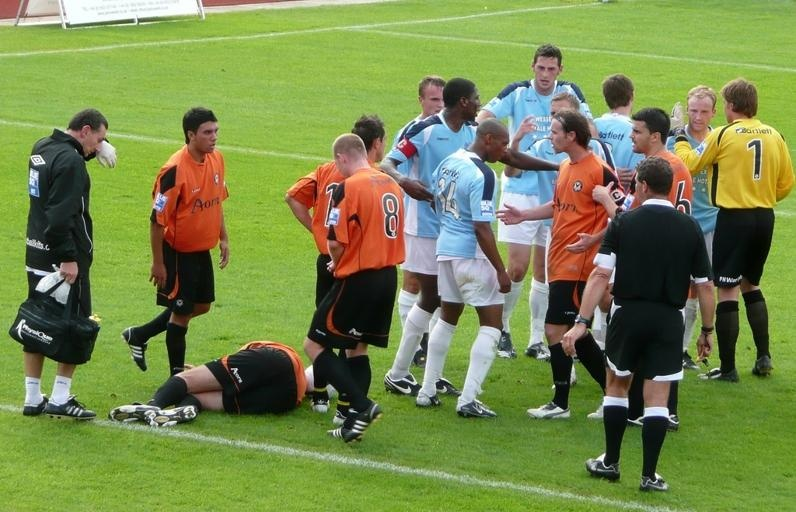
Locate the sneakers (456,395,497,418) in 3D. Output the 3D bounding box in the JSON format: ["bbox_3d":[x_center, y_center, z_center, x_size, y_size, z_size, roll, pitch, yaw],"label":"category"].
[{"bbox_3d":[0.911,1.803,13.219,0.550,0.237,0.184,-1,4,-7],"label":"sneakers"}]

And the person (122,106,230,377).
[{"bbox_3d":[-2.632,-0.176,13.437,1.130,3.225,0.734,0,4,-13],"label":"person"}]

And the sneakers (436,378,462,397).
[{"bbox_3d":[0.584,1.603,13.730,0.424,0.165,0.136,22,3,-1],"label":"sneakers"}]

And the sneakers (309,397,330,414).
[{"bbox_3d":[-0.922,1.763,13.103,0.185,0.135,0.337,1,6,-1],"label":"sneakers"}]

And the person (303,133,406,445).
[{"bbox_3d":[-0.510,0.351,12.666,0.919,3.434,0.734,2,4,23],"label":"person"}]

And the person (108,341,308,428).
[{"bbox_3d":[-2.188,1.409,13.015,2.196,0.631,0.875,-7,0,-17],"label":"person"}]

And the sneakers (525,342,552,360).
[{"bbox_3d":[1.838,1.252,14.537,0.166,0.134,0.317,-2,3,-43],"label":"sneakers"}]

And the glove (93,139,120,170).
[{"bbox_3d":[-3.445,-1.175,13.091,0.154,0.346,0.282,12,38,41],"label":"glove"}]

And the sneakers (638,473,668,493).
[{"bbox_3d":[2.735,2.413,11.945,0.279,0.157,0.171,-6,13,-11],"label":"sneakers"}]

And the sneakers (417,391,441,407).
[{"bbox_3d":[0.357,1.715,13.323,0.157,0.115,0.296,2,2,28],"label":"sneakers"}]

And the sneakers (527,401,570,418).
[{"bbox_3d":[1.778,1.826,13.192,0.521,0.179,0.180,2,-7,-3],"label":"sneakers"}]

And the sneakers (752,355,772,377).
[{"bbox_3d":[4.616,1.396,14.125,0.170,0.137,0.323,0,-1,6],"label":"sneakers"}]

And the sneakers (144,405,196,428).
[{"bbox_3d":[-2.555,1.801,12.573,0.628,0.198,0.248,-1,-5,-11],"label":"sneakers"}]

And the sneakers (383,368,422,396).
[{"bbox_3d":[0.054,1.577,13.612,0.508,0.197,0.195,6,6,-3],"label":"sneakers"}]

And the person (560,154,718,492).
[{"bbox_3d":[2.692,0.761,12.226,1.660,3.478,0.999,5,-2,18],"label":"person"}]

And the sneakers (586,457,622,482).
[{"bbox_3d":[2.259,2.312,12.121,0.459,0.192,0.173,12,7,40],"label":"sneakers"}]

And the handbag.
[{"bbox_3d":[-3.959,0.807,12.813,0.779,0.908,0.421,30,-3,7],"label":"handbag"}]

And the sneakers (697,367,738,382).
[{"bbox_3d":[4.028,1.503,14.078,0.496,0.161,0.173,3,-2,21],"label":"sneakers"}]

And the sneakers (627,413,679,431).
[{"bbox_3d":[2.913,1.920,12.997,0.718,0.265,0.229,4,-5,3],"label":"sneakers"}]
